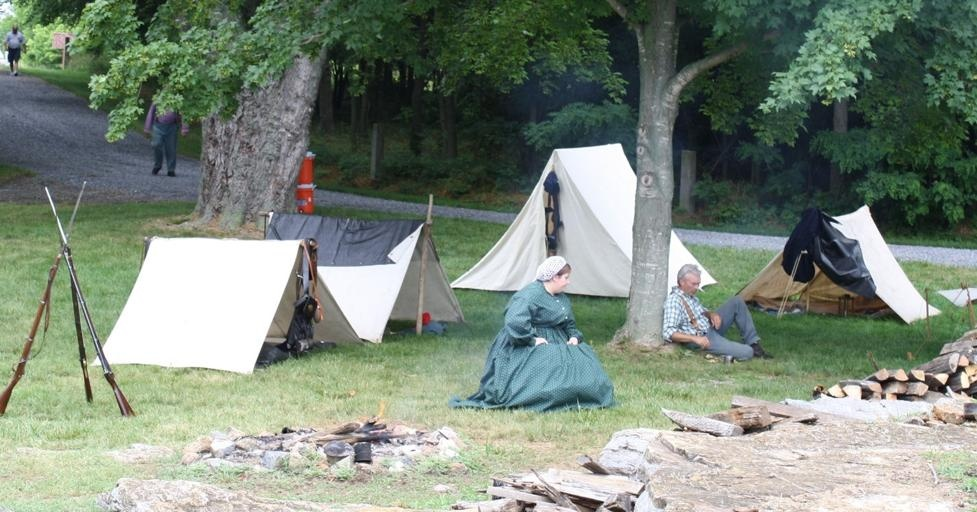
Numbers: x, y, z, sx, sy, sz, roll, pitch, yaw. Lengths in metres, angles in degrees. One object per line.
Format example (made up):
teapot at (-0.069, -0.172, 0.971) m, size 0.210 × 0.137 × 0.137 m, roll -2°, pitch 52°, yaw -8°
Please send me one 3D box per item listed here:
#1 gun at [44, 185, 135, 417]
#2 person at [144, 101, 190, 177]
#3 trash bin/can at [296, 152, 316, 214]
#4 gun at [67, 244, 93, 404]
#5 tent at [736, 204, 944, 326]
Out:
gun at (-9.944, 1.296, 43.125) m, size 0.183 × 5.792 × 1.057 m, roll -16°, pitch -1°, yaw -29°
person at (-9.576, -3.514, 51.388) m, size 1.184 × 2.912 × 1.594 m, roll 3°, pitch -1°, yaw -11°
trash bin/can at (-5.117, -2.121, 48.261) m, size 0.475 × 1.673 × 0.884 m, roll 4°, pitch 4°, yaw -9°
gun at (-9.855, 1.787, 41.730) m, size 0.257 × 3.751 × 0.818 m, roll -9°, pitch -2°, yaw -18°
tent at (9.361, 0.399, 45.375) m, size 3.480 × 2.211 × 4.819 m, roll -4°, pitch 7°, yaw -44°
